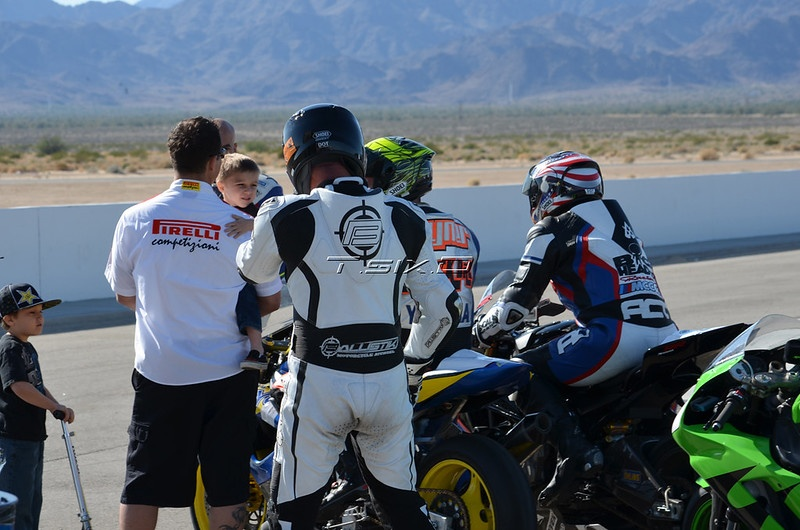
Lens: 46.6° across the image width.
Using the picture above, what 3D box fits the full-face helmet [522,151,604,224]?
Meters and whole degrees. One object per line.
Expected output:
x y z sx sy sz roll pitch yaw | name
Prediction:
1.373 -0.671 7.786 0.517 0.559 0.683 -9 8 -42 | full-face helmet

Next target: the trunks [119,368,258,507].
-1.423 1.062 6.421 0.942 1.183 0.635 1 14 -16 | trunks

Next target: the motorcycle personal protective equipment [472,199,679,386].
1.403 0.312 7.775 1.340 1.496 1.598 -7 -5 -9 | motorcycle personal protective equipment

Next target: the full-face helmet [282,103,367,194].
-0.527 -0.784 6.418 0.568 0.654 0.714 -5 -38 -7 | full-face helmet

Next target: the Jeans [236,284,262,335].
-1.044 0.311 6.381 0.143 0.106 0.387 0 41 -3 | Jeans

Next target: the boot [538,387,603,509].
1.266 1.344 6.891 0.456 0.822 0.405 0 6 9 | boot

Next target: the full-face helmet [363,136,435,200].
-0.060 -0.861 7.713 0.753 0.596 0.565 -2 14 -18 | full-face helmet

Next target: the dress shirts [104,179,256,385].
-1.511 0.131 6.630 1.113 1.395 0.862 0 7 -14 | dress shirts
